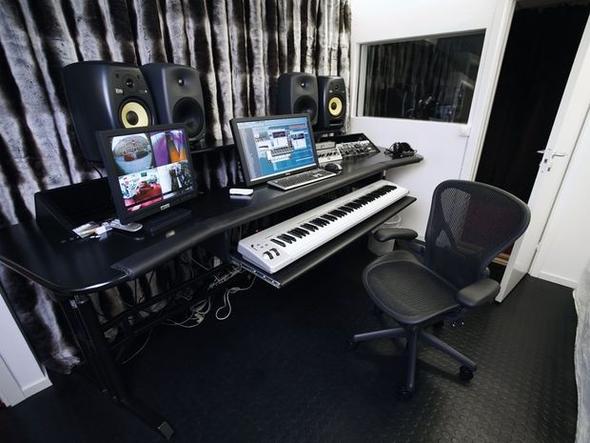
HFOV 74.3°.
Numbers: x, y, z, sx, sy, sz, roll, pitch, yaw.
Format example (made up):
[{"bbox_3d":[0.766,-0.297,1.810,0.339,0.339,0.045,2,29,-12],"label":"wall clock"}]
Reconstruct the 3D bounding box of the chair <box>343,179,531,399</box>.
[{"bbox_3d":[0.795,0.397,2.380,0.789,1.143,0.802,-11,33,-19],"label":"chair"}]

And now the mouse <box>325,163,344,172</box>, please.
[{"bbox_3d":[0.268,-0.392,2.770,0.110,0.038,0.066,13,34,27],"label":"mouse"}]

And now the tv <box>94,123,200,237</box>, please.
[{"bbox_3d":[-0.789,-0.213,2.044,0.193,0.460,0.483,12,26,33],"label":"tv"}]

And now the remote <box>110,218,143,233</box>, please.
[{"bbox_3d":[-0.897,0.020,2.069,0.160,0.038,0.079,13,33,12],"label":"remote"}]

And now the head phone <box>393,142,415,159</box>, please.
[{"bbox_3d":[0.874,-0.587,3.211,0.204,0.115,0.105,-4,47,-8],"label":"head phone"}]

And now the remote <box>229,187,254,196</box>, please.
[{"bbox_3d":[-0.333,-0.180,2.401,0.112,0.028,0.061,6,26,8],"label":"remote"}]
